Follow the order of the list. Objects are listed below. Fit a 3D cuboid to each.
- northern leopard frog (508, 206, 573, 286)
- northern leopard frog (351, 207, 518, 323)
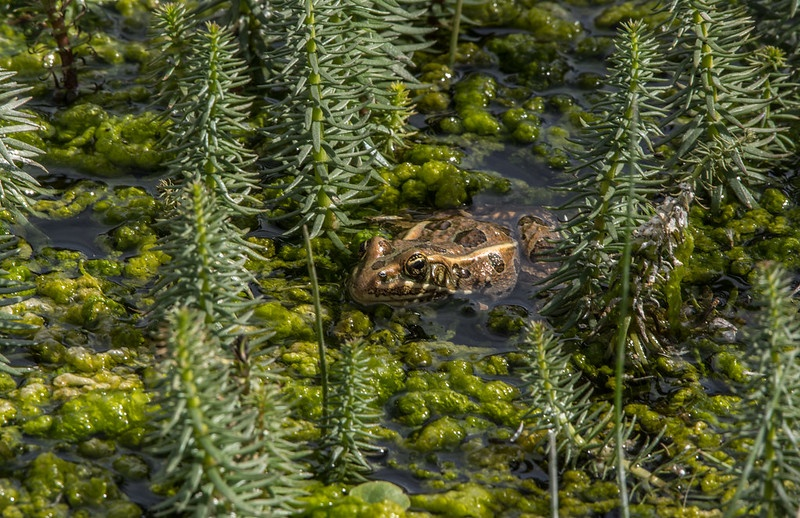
[{"bbox_3d":[1.060,-0.160,6.588,0.434,0.172,0.491,-7,63,9],"label":"northern leopard frog"},{"bbox_3d":[0.248,-0.040,6.697,1.406,0.306,0.827,-4,46,-11],"label":"northern leopard frog"}]
